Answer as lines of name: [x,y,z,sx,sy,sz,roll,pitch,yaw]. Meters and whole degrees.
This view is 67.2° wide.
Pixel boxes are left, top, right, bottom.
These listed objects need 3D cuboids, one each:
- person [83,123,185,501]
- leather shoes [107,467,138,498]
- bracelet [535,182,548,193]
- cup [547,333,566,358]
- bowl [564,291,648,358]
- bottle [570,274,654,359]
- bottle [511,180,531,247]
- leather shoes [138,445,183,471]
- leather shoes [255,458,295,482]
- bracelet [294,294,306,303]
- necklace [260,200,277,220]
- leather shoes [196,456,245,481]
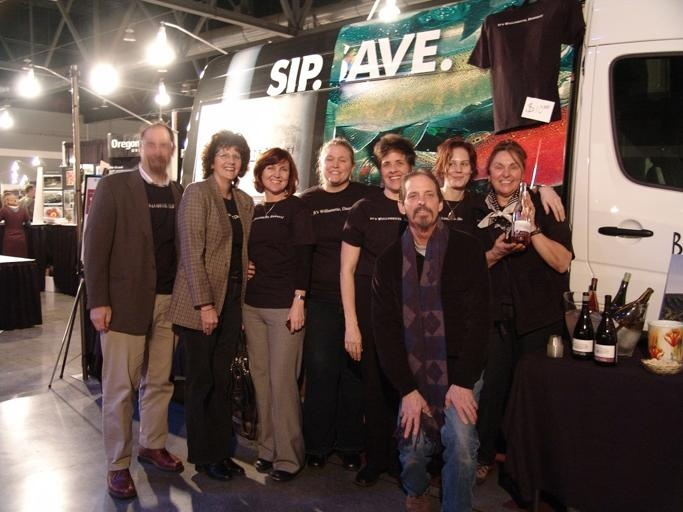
person: [-1.373,0.329,3.489,0.331,2.421,0.613,3,6,35]
leather shoes: [-1.440,1.481,3.356,0.193,0.160,0.153,-2,6,-15]
bracelet: [1.255,-0.429,3.239,0.060,0.048,0.080,2,2,0]
cup: [1.113,0.485,2.733,0.088,0.109,0.111,0,1,0]
bowl: [1.450,0.338,2.831,0.376,0.301,0.344,0,1,0]
bottle: [1.426,0.320,2.843,0.446,0.341,0.405,0,-4,20]
bottle: [1.062,-0.262,3.054,0.111,0.350,0.393,1,6,20]
leather shoes: [-1.292,1.440,3.730,0.324,0.145,0.142,6,0,21]
leather shoes: [-0.477,1.488,3.549,0.289,0.125,0.108,0,5,-16]
bracelet: [-0.284,0.287,3.511,0.063,0.042,0.066,8,-7,13]
necklace: [-0.518,-0.321,3.592,0.099,0.099,0.028,3,-8,37]
leather shoes: [-0.844,1.483,3.582,0.258,0.114,0.151,-6,-6,27]
